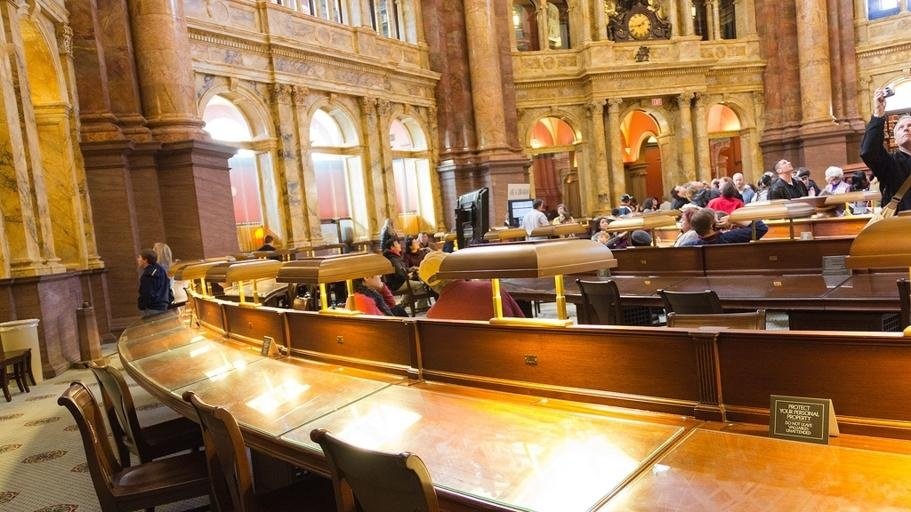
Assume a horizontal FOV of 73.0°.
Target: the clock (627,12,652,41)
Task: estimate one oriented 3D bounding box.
[{"bbox_3d":[6.524,-8.099,21.866,1.111,0.976,0.091,-9,6,-15],"label":"clock"}]
